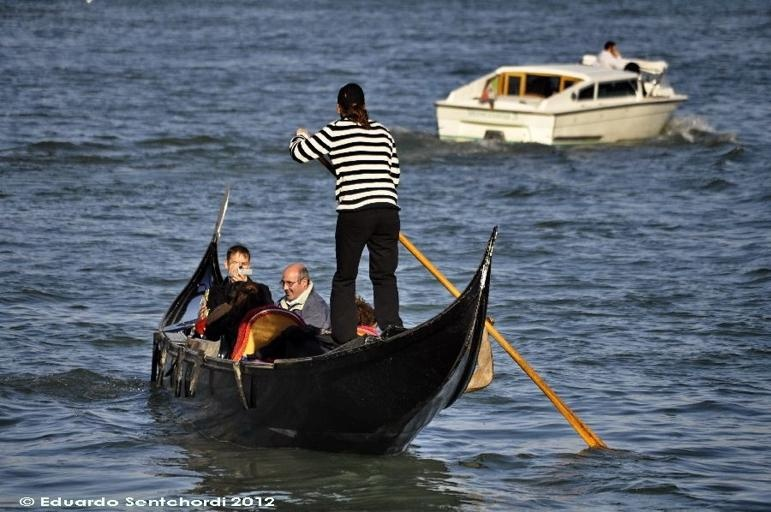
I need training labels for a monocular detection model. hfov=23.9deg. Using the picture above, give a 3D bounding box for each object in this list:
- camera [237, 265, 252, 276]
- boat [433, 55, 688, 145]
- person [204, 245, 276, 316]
[{"bbox_3d":[-2.600,0.282,33.914,0.338,0.181,0.178,2,-4,-41],"label":"camera"},{"bbox_3d":[4.466,-3.709,44.484,4.753,1.231,2.653,-8,16,-35],"label":"boat"},{"bbox_3d":[-2.793,0.482,34.108,1.805,1.233,0.804,-5,10,-27],"label":"person"}]
